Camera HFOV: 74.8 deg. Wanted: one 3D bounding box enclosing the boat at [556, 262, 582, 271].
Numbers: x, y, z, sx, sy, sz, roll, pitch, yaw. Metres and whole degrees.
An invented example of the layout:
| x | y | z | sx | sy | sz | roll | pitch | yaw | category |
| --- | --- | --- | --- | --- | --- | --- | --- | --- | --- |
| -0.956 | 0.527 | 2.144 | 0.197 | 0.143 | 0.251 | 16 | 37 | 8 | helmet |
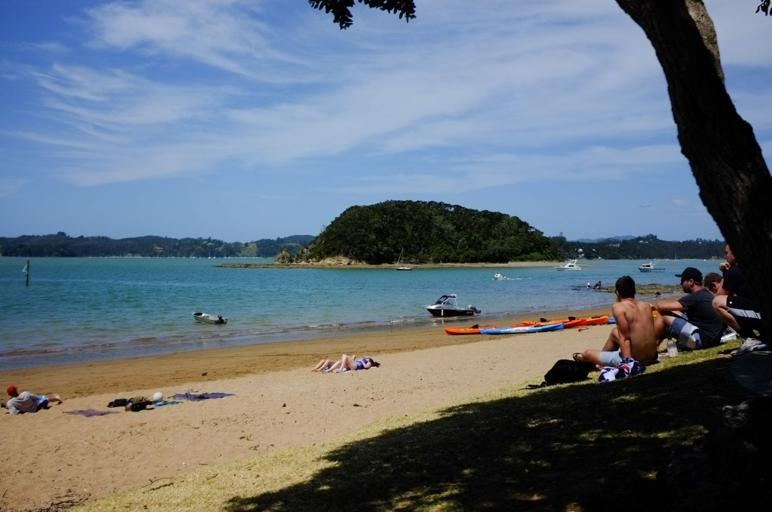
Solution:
| x | y | z | sx | sy | sz | roll | pitch | yaw | category |
| --- | --- | --- | --- | --- | --- | --- | --- | --- | --- |
| 54.102 | 2.889 | 150.447 | 7.667 | 2.701 | 2.439 | -1 | 2 | -15 | boat |

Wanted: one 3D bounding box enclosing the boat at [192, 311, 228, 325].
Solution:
| x | y | z | sx | sy | sz | roll | pitch | yaw | category |
| --- | --- | --- | --- | --- | --- | --- | --- | --- | --- |
| -11.738 | 4.159 | 33.863 | 3.120 | 0.543 | 1.167 | 7 | 8 | 31 | boat |

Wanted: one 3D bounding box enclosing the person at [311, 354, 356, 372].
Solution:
| x | y | z | sx | sy | sz | roll | pitch | yaw | category |
| --- | --- | --- | --- | --- | --- | --- | --- | --- | --- |
| -1.628 | 3.457 | 16.190 | 1.058 | 0.346 | 0.666 | -3 | -20 | -9 | person |

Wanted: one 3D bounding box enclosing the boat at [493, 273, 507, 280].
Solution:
| x | y | z | sx | sy | sz | roll | pitch | yaw | category |
| --- | --- | --- | --- | --- | --- | --- | --- | --- | --- |
| 22.295 | 4.081 | 100.066 | 2.151 | 0.895 | 2.749 | 1 | -1 | 7 | boat |

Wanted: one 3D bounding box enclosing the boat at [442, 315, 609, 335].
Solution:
| x | y | z | sx | sy | sz | roll | pitch | yaw | category |
| --- | --- | --- | --- | --- | --- | --- | --- | --- | --- |
| 7.672 | 3.745 | 27.735 | 4.758 | 0.433 | 0.892 | -5 | 5 | -1 | boat |

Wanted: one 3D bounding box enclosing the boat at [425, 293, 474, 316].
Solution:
| x | y | z | sx | sy | sz | roll | pitch | yaw | category |
| --- | --- | --- | --- | --- | --- | --- | --- | --- | --- |
| 4.652 | 3.475 | 36.187 | 2.672 | 1.677 | 2.932 | -5 | 0 | 32 | boat |
